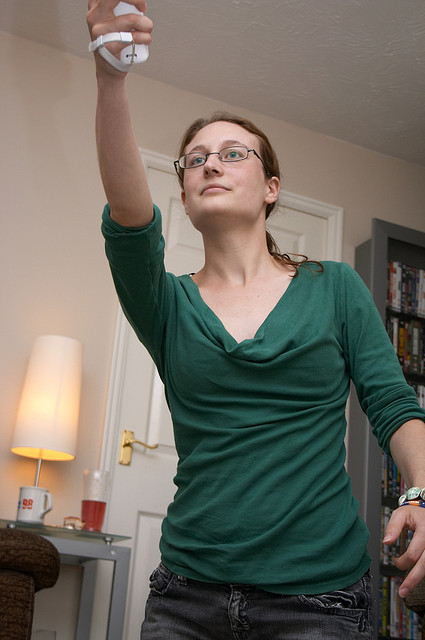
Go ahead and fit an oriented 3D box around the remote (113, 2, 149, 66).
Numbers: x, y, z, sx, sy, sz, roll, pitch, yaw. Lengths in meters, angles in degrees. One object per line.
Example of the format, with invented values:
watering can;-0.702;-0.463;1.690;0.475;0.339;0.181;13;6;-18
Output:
remote;-0.080;-0.298;0.641;0.066;0.058;0.017;3;13;13

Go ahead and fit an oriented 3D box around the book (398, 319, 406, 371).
book;0.837;0.103;2.716;0.032;0.246;0.083;0;-15;17

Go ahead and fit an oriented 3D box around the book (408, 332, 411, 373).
book;0.873;0.138;2.724;0.011;0.184;0.034;0;-15;17

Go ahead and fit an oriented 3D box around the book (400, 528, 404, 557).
book;0.742;0.864;2.404;0.016;0.090;0.151;0;-14;18

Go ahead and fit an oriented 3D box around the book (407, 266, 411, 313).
book;0.898;-0.143;2.806;0.010;0.223;0.033;-4;-17;31

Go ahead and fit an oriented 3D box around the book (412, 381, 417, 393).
book;0.882;0.285;2.680;0.018;0.043;0.091;0;-14;18

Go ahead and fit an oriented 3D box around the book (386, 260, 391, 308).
book;0.791;-0.170;2.760;0.013;0.232;0.046;-2;-16;24

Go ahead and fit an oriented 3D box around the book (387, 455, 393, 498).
book;0.717;0.633;2.480;0.020;0.154;0.041;1;-15;15

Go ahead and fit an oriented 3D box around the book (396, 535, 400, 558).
book;0.726;0.890;2.406;0.013;0.054;0.038;1;-14;14

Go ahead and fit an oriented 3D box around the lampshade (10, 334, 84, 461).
lampshade;-0.529;0.236;2.034;0.194;0.391;0.151;8;-15;-14

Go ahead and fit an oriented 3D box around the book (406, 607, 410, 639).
book;0.744;1.155;2.341;0.011;0.089;0.030;0;-15;17

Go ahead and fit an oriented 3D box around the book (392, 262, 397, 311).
book;0.822;-0.155;2.771;0.018;0.231;0.027;0;-15;18

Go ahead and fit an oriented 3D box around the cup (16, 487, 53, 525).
cup;-0.522;0.541;1.808;0.090;0.096;0.100;8;-14;-16

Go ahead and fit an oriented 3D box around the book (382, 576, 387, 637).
book;0.652;1.079;2.326;0.015;0.204;0.038;0;-15;19

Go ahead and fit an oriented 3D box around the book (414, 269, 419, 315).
book;0.939;-0.134;2.828;0.013;0.225;0.041;-4;-17;32

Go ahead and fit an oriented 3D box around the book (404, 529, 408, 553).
book;0.768;0.865;2.439;0.013;0.058;0.081;0;-14;16

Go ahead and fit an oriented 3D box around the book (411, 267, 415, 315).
book;0.917;-0.136;2.815;0.013;0.230;0.035;-2;-16;23

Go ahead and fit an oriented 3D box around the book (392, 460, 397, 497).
book;0.733;0.644;2.468;0.017;0.122;0.058;0;-15;17

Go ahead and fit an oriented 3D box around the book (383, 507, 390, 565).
book;0.678;0.840;2.396;0.021;0.210;0.115;0;-15;17

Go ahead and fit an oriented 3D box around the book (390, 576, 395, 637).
book;0.684;1.097;2.338;0.024;0.203;0.168;-1;-12;19

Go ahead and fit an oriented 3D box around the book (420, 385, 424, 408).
book;0.913;0.326;2.678;0.016;0.096;0.043;0;-15;18

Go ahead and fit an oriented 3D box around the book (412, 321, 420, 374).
book;0.908;0.116;2.742;0.029;0.242;0.056;0;-15;19

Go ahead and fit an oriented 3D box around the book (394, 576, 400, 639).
book;0.706;1.095;2.348;0.016;0.217;0.044;0;-15;18
